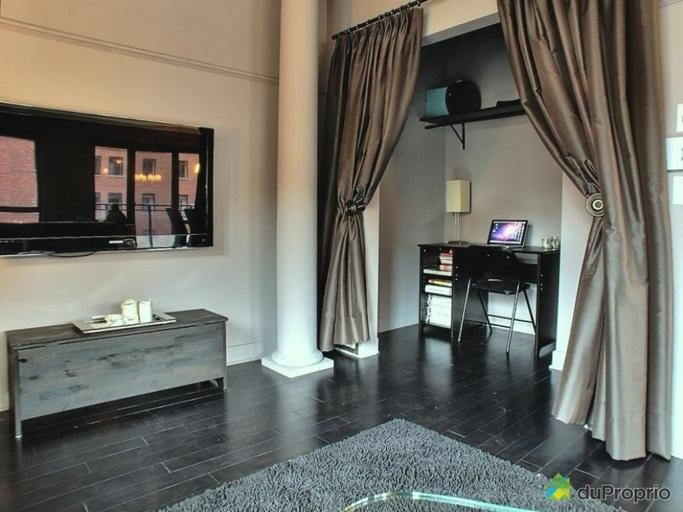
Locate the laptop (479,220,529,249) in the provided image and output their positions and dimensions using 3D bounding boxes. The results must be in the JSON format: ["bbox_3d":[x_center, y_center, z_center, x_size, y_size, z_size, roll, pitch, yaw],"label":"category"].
[{"bbox_3d":[1.740,-0.239,5.228,0.238,0.299,0.357,-6,15,-44],"label":"laptop"}]

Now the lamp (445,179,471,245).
[{"bbox_3d":[1.298,-0.506,5.595,0.294,0.689,0.501,3,11,17],"label":"lamp"}]

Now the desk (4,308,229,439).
[{"bbox_3d":[-1.530,0.774,3.507,1.379,0.626,0.338,-7,13,-31],"label":"desk"}]

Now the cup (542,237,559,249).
[{"bbox_3d":[2.030,-0.121,4.858,0.125,0.127,0.127,0,5,0],"label":"cup"}]

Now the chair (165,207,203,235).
[{"bbox_3d":[-1.232,-0.284,3.955,0.207,0.250,0.174,-9,13,-26],"label":"chair"}]
